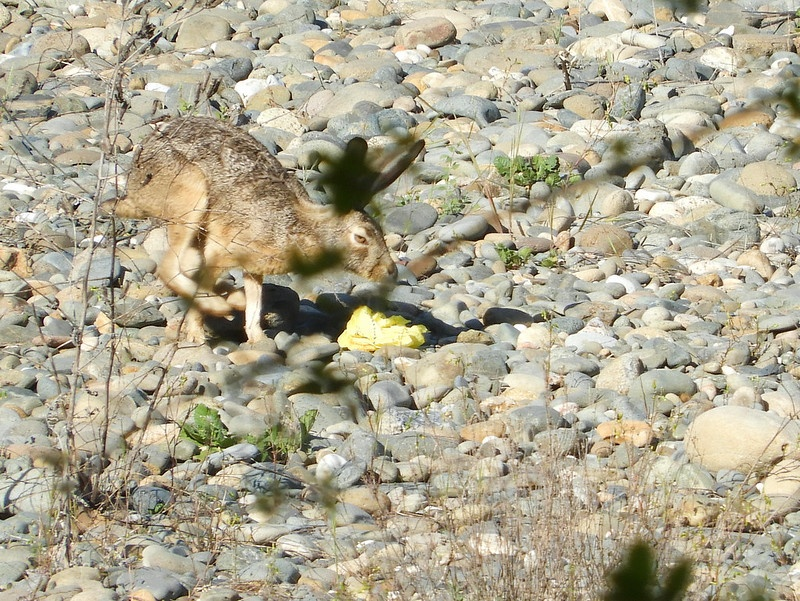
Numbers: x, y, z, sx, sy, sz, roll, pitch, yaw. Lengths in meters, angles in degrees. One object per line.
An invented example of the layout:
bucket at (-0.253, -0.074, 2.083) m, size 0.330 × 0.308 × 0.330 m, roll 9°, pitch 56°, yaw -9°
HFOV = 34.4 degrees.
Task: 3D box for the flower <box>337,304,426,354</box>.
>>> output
flower at (-0.025, 0.140, 8.417) m, size 0.513 × 0.140 × 0.479 m, roll 6°, pitch 17°, yaw 33°
